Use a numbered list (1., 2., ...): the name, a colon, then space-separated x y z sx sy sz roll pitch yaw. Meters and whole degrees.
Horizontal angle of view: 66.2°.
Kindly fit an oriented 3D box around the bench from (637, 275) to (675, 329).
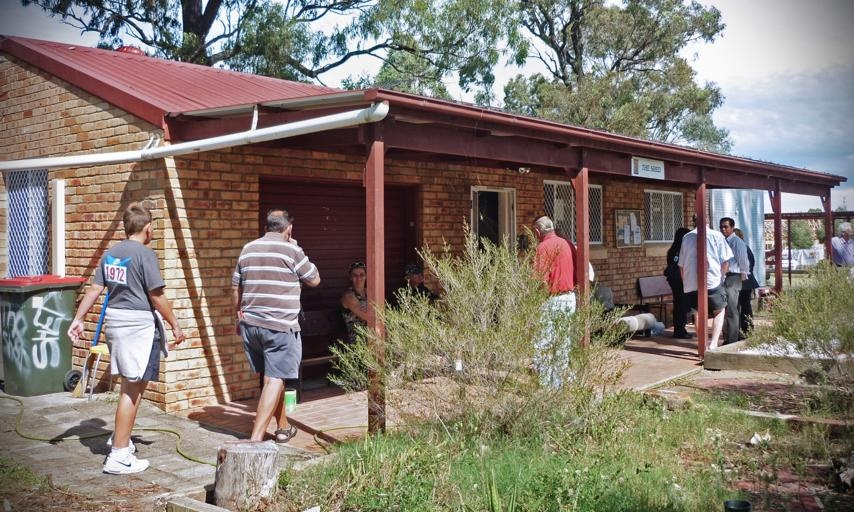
1. bench: 5.698 1.158 16.438 0.499 0.880 1.262 0 1 39

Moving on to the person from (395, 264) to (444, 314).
1. person: -0.144 0.465 11.510 0.451 0.677 1.018 -19 13 -21

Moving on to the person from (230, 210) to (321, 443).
1. person: -1.965 0.826 8.374 1.035 2.868 0.588 1 -1 -5

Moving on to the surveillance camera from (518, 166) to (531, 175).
1. surveillance camera: 2.010 -1.777 13.538 0.174 0.140 0.248 -1 -4 13

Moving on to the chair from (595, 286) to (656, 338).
1. chair: 4.069 1.223 14.279 1.394 0.916 1.328 -2 7 -22

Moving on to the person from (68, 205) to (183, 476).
1. person: -3.680 1.002 8.125 1.103 3.282 0.542 0 -1 16

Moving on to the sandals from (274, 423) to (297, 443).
1. sandals: -1.881 2.367 8.780 0.144 0.137 0.310 1 7 17

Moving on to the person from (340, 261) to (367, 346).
1. person: -1.192 0.768 10.665 0.369 1.297 0.722 1 -1 -8
